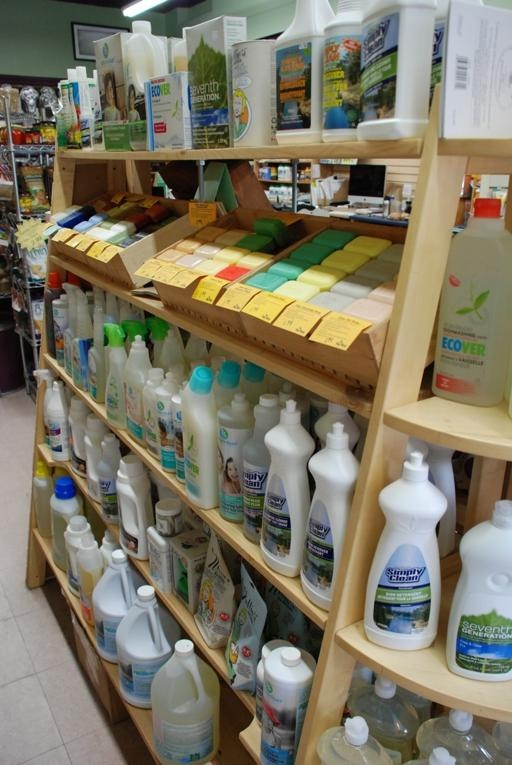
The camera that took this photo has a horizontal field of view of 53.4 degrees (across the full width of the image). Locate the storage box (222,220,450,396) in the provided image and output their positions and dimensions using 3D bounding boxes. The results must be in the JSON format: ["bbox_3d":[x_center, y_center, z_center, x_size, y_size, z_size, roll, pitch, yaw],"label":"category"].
[{"bbox_3d":[0.133,-0.115,0.987,0.331,0.107,0.364,17,55,40],"label":"storage box"}]

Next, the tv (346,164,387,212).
[{"bbox_3d":[1.680,-2.930,7.621,0.261,0.743,0.722,-28,38,-35],"label":"tv"}]

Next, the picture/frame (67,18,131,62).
[{"bbox_3d":[-2.857,-5.940,8.867,0.734,0.685,0.226,-12,19,-41],"label":"picture/frame"}]

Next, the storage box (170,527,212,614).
[{"bbox_3d":[-0.209,0.616,1.657,0.087,0.244,0.103,-16,25,-38],"label":"storage box"}]
